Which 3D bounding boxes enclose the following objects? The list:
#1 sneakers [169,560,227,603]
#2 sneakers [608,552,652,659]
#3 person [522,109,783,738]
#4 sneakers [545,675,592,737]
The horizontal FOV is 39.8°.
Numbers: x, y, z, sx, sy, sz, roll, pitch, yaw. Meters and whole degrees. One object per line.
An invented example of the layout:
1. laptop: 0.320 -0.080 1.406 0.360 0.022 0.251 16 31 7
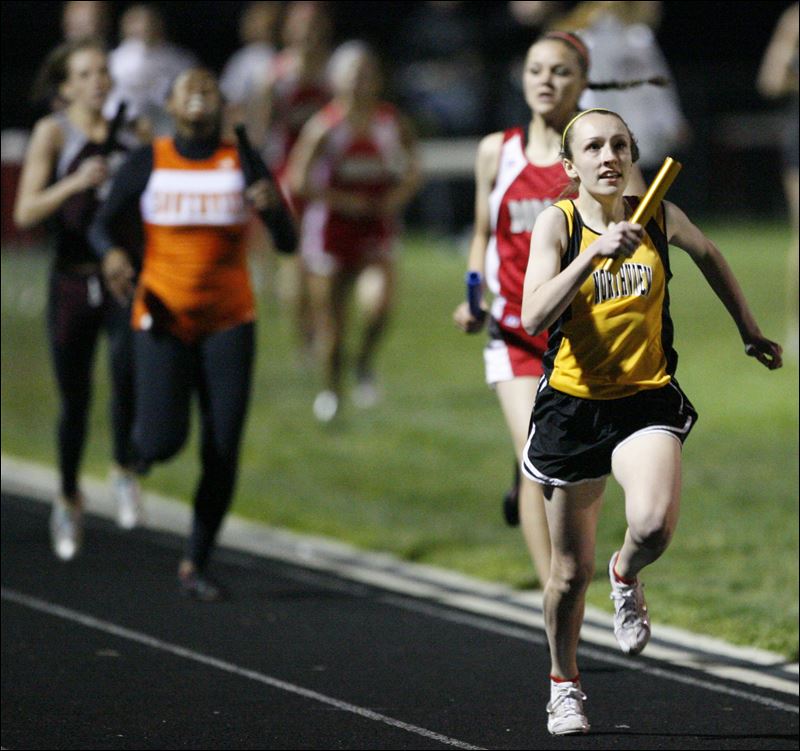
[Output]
1. sneakers: -0.658 0.665 3.633 0.196 0.080 0.081 24 29 -6
2. sneakers: 0.531 0.575 2.696 0.103 0.266 0.121 -9 6 6
3. person: 0.496 0.170 2.544 0.461 1.521 0.546 5 11 22
4. sneakers: 0.413 0.805 2.691 0.085 0.073 0.169 -1 -5 1
